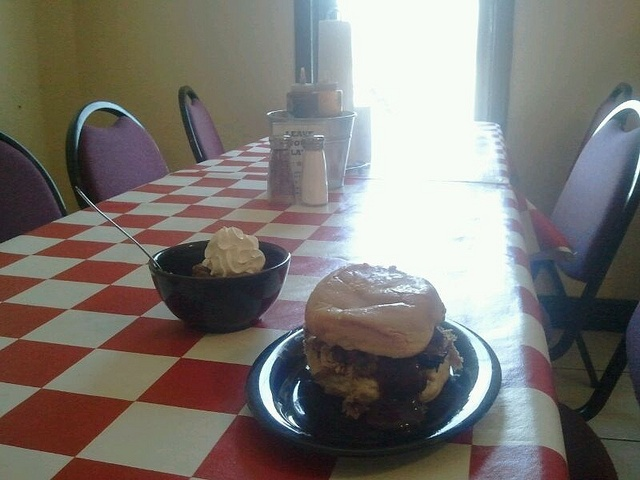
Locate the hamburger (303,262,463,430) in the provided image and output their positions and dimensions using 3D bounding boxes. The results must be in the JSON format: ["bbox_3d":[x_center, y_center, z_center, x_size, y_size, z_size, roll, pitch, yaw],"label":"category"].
[{"bbox_3d":[0.080,0.107,0.649,0.167,0.152,0.133,12,18,35],"label":"hamburger"}]

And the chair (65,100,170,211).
[{"bbox_3d":[-0.638,-0.271,1.672,0.328,0.398,0.299,-1,14,0],"label":"chair"}]

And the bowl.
[{"bbox_3d":[-0.136,0.060,0.765,0.188,0.105,0.133,-3,29,-1],"label":"bowl"}]

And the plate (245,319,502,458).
[{"bbox_3d":[0.061,0.160,0.603,0.286,0.021,0.197,-3,28,-1],"label":"plate"}]
